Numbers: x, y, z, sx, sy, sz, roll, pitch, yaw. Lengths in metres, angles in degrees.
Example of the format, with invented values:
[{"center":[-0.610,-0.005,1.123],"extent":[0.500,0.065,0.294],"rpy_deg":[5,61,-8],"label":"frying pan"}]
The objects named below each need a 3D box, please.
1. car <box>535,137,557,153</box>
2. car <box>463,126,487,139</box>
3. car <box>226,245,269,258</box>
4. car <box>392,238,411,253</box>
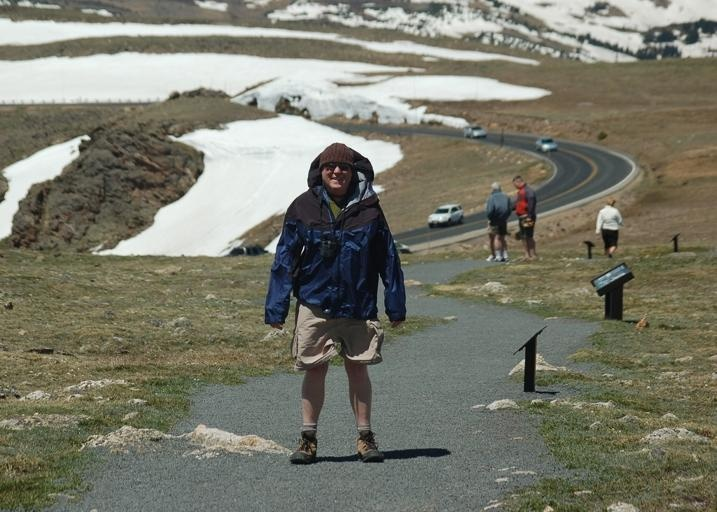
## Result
[{"center":[24.979,-14.934,168.807],"extent":[1.906,1.109,2.573],"rpy_deg":[-4,4,-11],"label":"car"},{"center":[16.077,-17.462,177.670],"extent":[1.587,1.158,2.897],"rpy_deg":[-2,4,-16],"label":"car"},{"center":[-12.441,-0.702,140.163],"extent":[3.913,0.747,2.010],"rpy_deg":[-2,12,-9],"label":"car"},{"center":[4.418,-1.062,130.580],"extent":[1.642,1.063,3.345],"rpy_deg":[-1,2,-1],"label":"car"}]
